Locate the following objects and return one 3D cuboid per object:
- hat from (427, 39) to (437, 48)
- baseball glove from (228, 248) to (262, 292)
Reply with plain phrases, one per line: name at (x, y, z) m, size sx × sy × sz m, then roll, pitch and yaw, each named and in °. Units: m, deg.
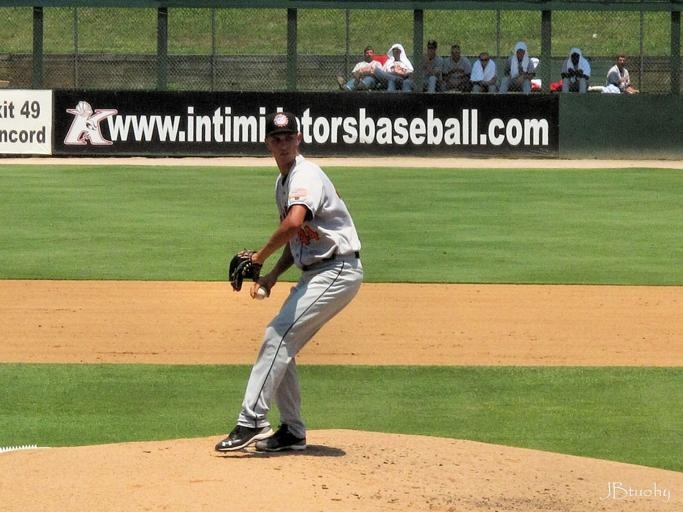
hat at (2.108, -4.944, 40.611) m, size 0.173 × 0.139 × 0.259 m, roll 2°, pitch 7°, yaw 7°
baseball glove at (-1.316, 0.187, 23.972) m, size 0.561 × 0.560 × 0.439 m, roll -5°, pitch 4°, yaw 32°
